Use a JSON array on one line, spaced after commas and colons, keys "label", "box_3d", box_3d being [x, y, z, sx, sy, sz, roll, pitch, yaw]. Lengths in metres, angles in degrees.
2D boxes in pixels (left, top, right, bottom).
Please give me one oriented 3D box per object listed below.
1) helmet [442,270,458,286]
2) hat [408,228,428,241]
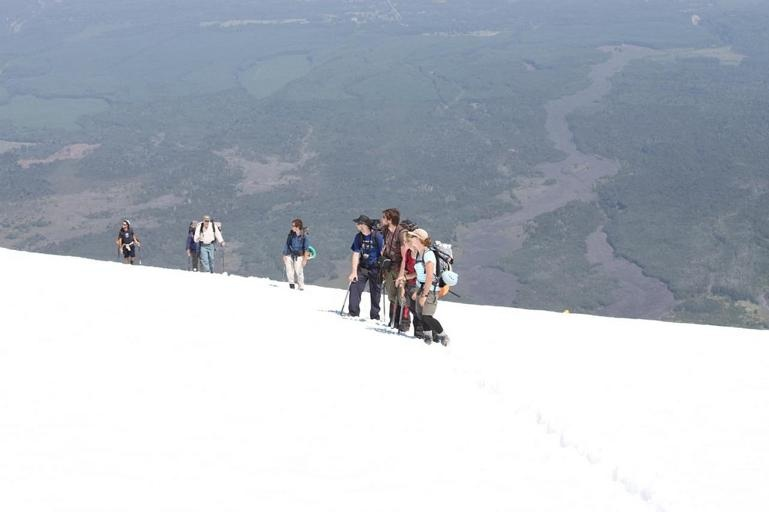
[{"label": "helmet", "box_3d": [1.374, 0.472, 15.332, 0.320, 0.191, 0.395, 16, 14, -46]}, {"label": "hat", "box_3d": [0.815, -0.467, 15.400, 0.298, 0.332, 0.102, 11, 81, 47]}]
